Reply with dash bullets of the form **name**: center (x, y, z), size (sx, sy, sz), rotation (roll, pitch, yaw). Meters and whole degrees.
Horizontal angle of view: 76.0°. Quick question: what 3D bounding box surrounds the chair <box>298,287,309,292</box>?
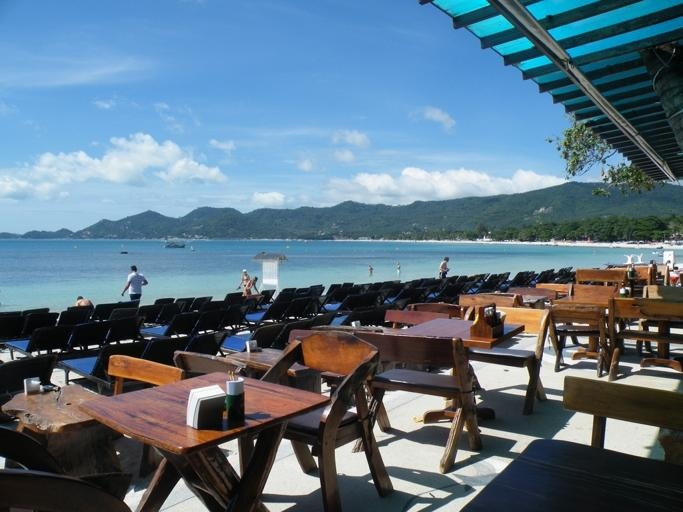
- **chair**: center (-1.098, 0.913, 11.913), size (0.150, 0.173, 0.155), rotation (-2, -7, 19)

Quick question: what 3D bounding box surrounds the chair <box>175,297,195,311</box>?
- **chair**: center (-3.648, 1.083, 9.987), size (0.319, 0.229, 0.348), rotation (1, -1, -43)

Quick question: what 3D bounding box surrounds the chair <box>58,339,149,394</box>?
- **chair**: center (-2.939, 1.293, 5.415), size (1.137, 0.569, 0.640), rotation (4, 6, 33)

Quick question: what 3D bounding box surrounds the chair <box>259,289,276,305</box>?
- **chair**: center (-1.934, 1.031, 11.171), size (0.379, 0.396, 0.361), rotation (0, 6, -31)

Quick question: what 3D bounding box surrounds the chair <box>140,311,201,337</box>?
- **chair**: center (-3.183, 1.243, 7.975), size (0.925, 0.334, 0.659), rotation (-1, -1, 35)

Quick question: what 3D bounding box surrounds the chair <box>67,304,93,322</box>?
- **chair**: center (-5.271, 1.126, 8.697), size (0.393, 0.322, 0.341), rotation (-2, 11, -35)

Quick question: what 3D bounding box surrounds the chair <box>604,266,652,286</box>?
- **chair**: center (6.305, 0.447, 9.520), size (0.597, 0.302, 0.184), rotation (-1, -5, -1)

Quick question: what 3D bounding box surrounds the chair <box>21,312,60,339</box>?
- **chair**: center (-5.253, 1.189, 7.503), size (0.311, 0.255, 0.432), rotation (8, 10, 39)

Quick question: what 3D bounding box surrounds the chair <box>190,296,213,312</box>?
- **chair**: center (-3.285, 1.088, 10.208), size (0.393, 0.243, 0.526), rotation (8, 12, 31)

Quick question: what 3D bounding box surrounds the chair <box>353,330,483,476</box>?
- **chair**: center (0.817, 1.123, 4.065), size (1.254, 1.066, 1.082), rotation (2, 5, 36)

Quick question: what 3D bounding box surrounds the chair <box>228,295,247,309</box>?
- **chair**: center (-2.523, 1.005, 10.353), size (0.431, 0.362, 0.293), rotation (4, 17, -2)

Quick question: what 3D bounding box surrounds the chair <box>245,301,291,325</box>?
- **chair**: center (-1.667, 1.210, 9.367), size (0.795, 0.365, 0.604), rotation (3, 5, 41)

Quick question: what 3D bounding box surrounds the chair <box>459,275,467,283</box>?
- **chair**: center (4.375, 0.806, 15.719), size (0.309, 0.264, 0.253), rotation (4, 17, -13)

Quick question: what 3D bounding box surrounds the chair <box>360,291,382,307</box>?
- **chair**: center (0.708, 1.054, 10.852), size (0.316, 0.354, 0.575), rotation (1, 5, 38)

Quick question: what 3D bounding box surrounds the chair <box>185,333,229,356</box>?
- **chair**: center (-1.643, 1.058, 5.291), size (0.238, 0.222, 0.756), rotation (-6, -2, 13)

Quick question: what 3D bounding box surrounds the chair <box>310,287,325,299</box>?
- **chair**: center (-0.728, 0.950, 12.334), size (0.292, 0.294, 0.333), rotation (-17, 35, -23)

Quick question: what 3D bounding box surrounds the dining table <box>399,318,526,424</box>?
- **dining table**: center (1.231, 0.959, 4.475), size (1.198, 0.891, 1.160), rotation (-2, 4, 27)

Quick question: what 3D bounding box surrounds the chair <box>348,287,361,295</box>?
- **chair**: center (0.377, 0.962, 12.520), size (0.272, 0.177, 0.427), rotation (-1, -2, 13)

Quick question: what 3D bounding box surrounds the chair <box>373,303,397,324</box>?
- **chair**: center (0.669, 0.957, 7.189), size (0.404, 0.366, 0.468), rotation (0, -1, 2)

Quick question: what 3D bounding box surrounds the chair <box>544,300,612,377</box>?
- **chair**: center (3.354, 1.062, 5.981), size (0.891, 0.891, 0.905), rotation (0, 7, 27)

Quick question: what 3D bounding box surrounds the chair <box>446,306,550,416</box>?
- **chair**: center (1.601, 1.070, 4.476), size (0.920, 0.991, 1.192), rotation (-1, -2, -43)
